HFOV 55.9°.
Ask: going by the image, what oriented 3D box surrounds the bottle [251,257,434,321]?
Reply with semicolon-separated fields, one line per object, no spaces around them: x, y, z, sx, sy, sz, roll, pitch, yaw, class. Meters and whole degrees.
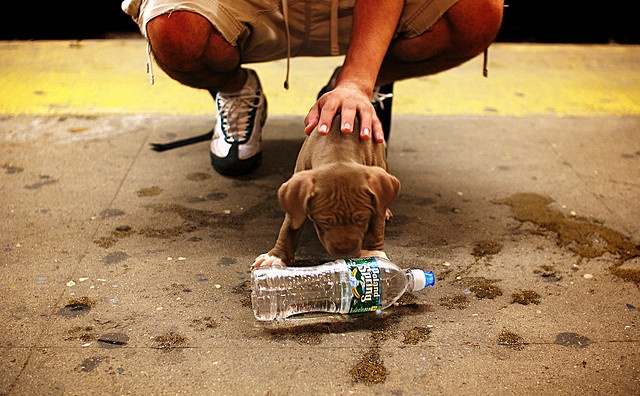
0.246;0.520;3.681;1.363;0.340;0.380;-3;0;0;bottle
